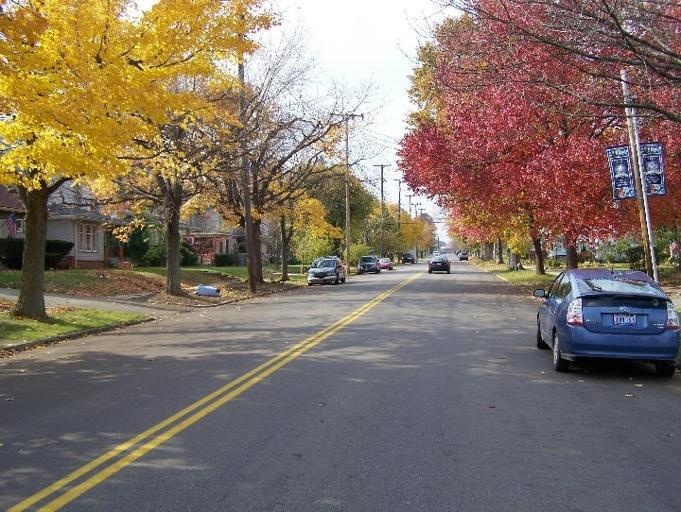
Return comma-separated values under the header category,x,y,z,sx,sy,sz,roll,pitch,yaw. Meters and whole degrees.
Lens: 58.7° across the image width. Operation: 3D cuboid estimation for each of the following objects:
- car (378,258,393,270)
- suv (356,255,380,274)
category,x,y,z,sx,sy,sz,roll,pitch,yaw
car,5.244,0.965,72.297,1.373,1.179,3.262,-1,-2,4
suv,2.833,0.848,60.454,2.033,1.702,1.821,-1,2,-39
